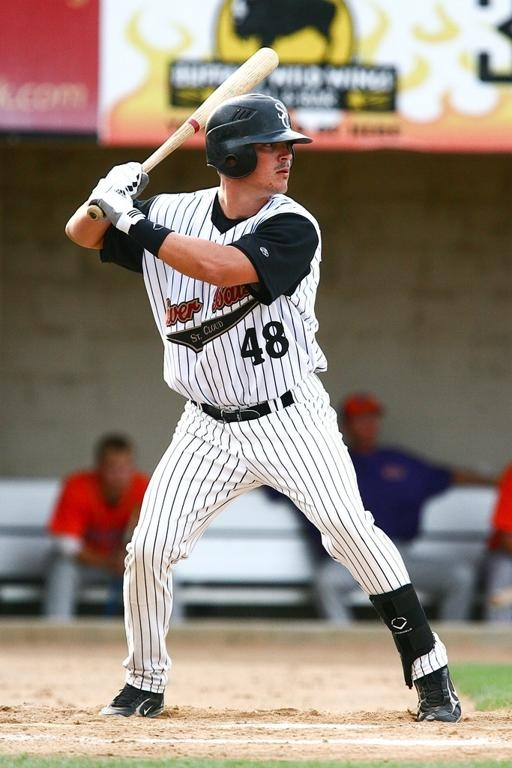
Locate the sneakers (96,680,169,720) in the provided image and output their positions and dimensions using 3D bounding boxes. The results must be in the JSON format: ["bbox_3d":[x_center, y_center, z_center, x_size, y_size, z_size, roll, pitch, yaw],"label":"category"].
[{"bbox_3d":[-0.251,0.662,2.196,0.164,0.064,0.053,2,-3,-7],"label":"sneakers"}]

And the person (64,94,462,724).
[{"bbox_3d":[0.015,0.124,2.198,0.876,1.402,0.411,3,16,5],"label":"person"}]

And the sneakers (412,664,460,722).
[{"bbox_3d":[0.369,0.641,2.210,0.058,0.068,0.161,-27,0,6],"label":"sneakers"}]

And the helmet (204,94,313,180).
[{"bbox_3d":[-0.029,-0.488,2.133,0.224,0.147,0.161,0,2,27],"label":"helmet"}]
